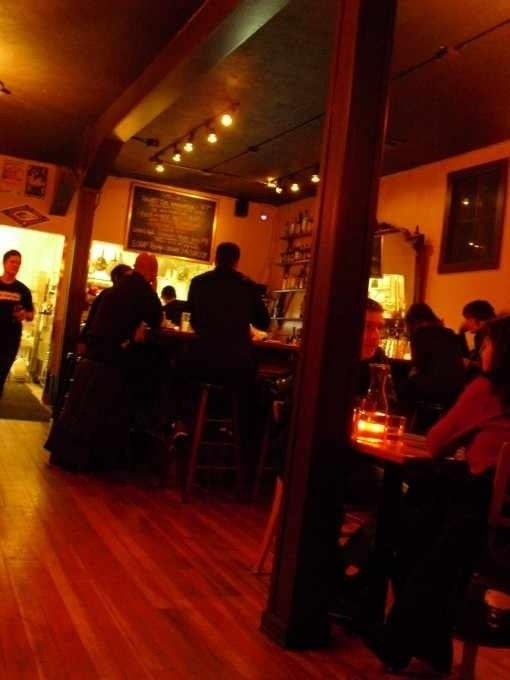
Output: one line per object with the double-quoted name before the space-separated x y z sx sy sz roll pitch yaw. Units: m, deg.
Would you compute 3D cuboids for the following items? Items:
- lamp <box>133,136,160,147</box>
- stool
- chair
"lamp" -1.409 -2.586 6.393 0.201 0.073 0.129 1 7 -40
"stool" -0.894 0.497 3.643 1.219 0.603 1.228 5 5 -23
"chair" 0.493 0.532 1.560 0.825 0.776 0.644 5 -4 -19
